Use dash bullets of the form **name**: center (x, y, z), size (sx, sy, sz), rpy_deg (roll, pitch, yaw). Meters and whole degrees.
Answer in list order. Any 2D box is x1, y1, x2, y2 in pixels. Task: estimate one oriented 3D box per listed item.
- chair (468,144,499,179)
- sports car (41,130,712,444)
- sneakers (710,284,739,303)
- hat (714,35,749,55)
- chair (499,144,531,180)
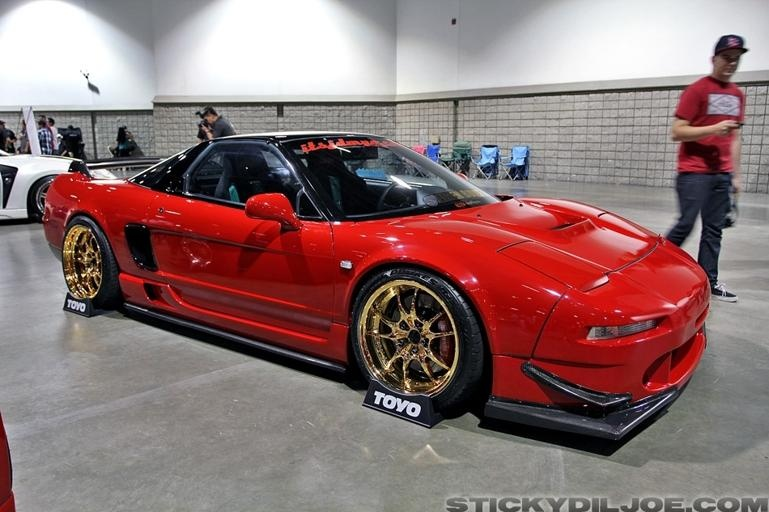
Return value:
- **chair**: center (3.062, -2.878, 13.839), size (1.115, 0.923, 1.056), rpy_deg (-4, 18, -15)
- **sports car**: center (-0.325, 0.004, 3.060), size (3.797, 1.013, 2.045), rpy_deg (9, 15, 22)
- **sneakers**: center (2.975, 0.331, 4.041), size (0.105, 0.108, 0.277), rpy_deg (-19, 22, -32)
- **hat**: center (2.812, -1.721, 3.672), size (0.202, 0.146, 0.195), rpy_deg (8, 19, 30)
- **chair**: center (3.859, -2.794, 13.575), size (0.763, 0.934, 0.698), rpy_deg (-14, 21, -25)
